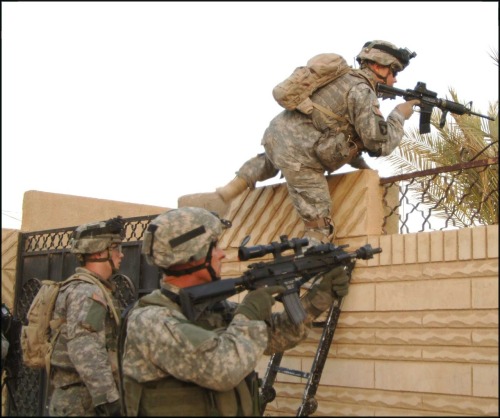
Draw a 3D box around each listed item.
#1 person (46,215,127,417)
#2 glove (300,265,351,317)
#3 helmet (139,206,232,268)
[{"bbox_3d":[-1.606,1.084,9.696,0.788,1.330,1.309,-11,8,5],"label":"person"},{"bbox_3d":[0.649,0.721,9.054,0.604,0.186,0.216,-41,5,-9],"label":"glove"},{"bbox_3d":[-0.537,0.225,8.600,0.441,0.389,0.608,-21,-12,40],"label":"helmet"}]
